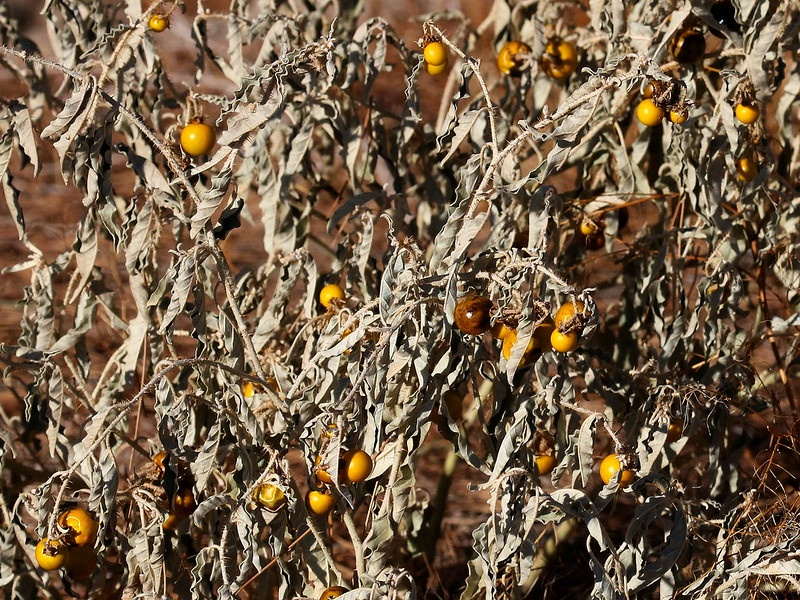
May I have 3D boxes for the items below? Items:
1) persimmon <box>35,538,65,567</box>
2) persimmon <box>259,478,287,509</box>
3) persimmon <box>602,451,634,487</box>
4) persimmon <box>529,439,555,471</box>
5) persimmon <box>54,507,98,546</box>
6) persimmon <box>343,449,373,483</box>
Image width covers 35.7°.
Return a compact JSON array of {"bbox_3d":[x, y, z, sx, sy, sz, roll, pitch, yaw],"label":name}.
[{"bbox_3d":[-0.450,0.332,1.645,0.033,0.040,0.050,11,-11,-4],"label":"persimmon"},{"bbox_3d":[-0.173,0.261,1.680,0.030,0.043,0.025,-1,5,7],"label":"persimmon"},{"bbox_3d":[0.296,0.234,1.706,0.040,0.058,0.044,-4,10,6],"label":"persimmon"},{"bbox_3d":[0.201,0.217,1.771,0.035,0.050,0.037,6,-4,-20],"label":"persimmon"},{"bbox_3d":[-0.433,0.304,1.683,0.043,0.051,0.056,-11,-29,3],"label":"persimmon"},{"bbox_3d":[-0.056,0.220,1.664,0.037,0.042,0.046,22,-5,6],"label":"persimmon"}]
